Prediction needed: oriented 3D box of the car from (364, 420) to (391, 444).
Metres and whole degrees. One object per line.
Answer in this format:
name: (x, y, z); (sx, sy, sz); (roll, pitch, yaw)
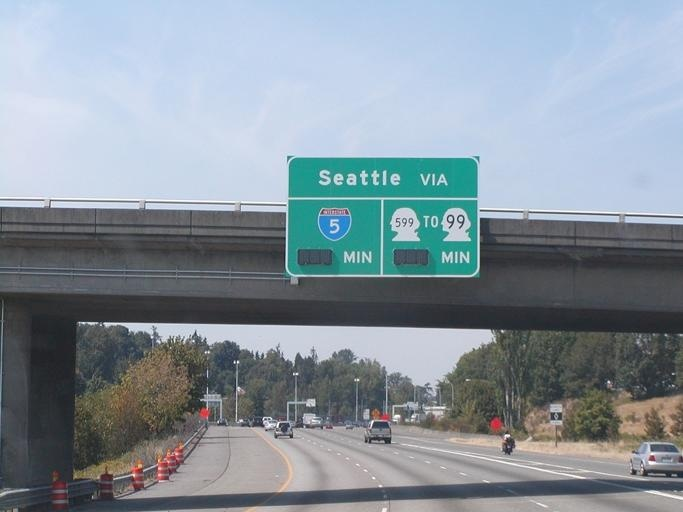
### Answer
car: (3.553, 16.847, 160.652); (2.262, 2.205, 3.719); (6, -4, -28)

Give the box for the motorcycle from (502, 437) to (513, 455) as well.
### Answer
motorcycle: (14.379, 16.157, 142.858); (0.952, 1.491, 0.955); (4, -3, -9)
